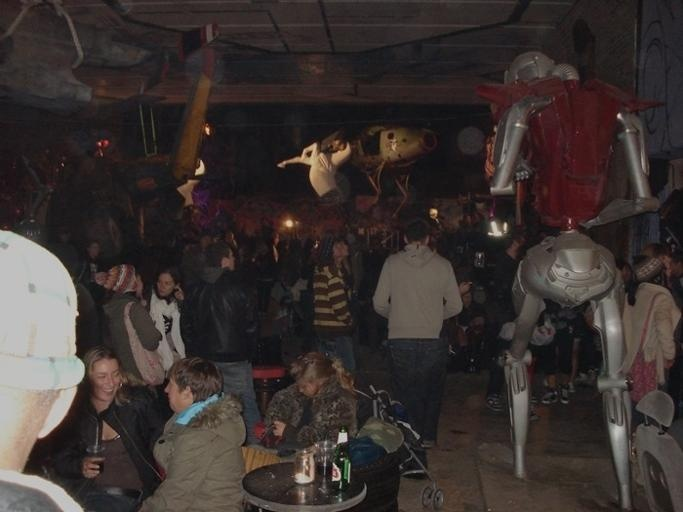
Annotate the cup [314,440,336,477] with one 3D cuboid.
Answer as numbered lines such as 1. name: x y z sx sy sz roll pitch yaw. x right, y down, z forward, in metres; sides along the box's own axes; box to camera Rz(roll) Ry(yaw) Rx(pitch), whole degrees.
1. cup: -0.114 1.432 5.042 0.210 0.212 0.165 0 3 -36

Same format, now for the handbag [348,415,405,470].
1. handbag: 0.257 1.439 5.687 0.137 0.556 0.348 16 -43 11

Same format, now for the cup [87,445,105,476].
1. cup: -1.757 1.443 5.126 0.115 0.200 0.309 -3 5 -19

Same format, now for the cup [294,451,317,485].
1. cup: -0.266 1.454 4.934 0.150 0.215 0.198 11 -14 -23

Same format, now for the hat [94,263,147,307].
1. hat: -1.968 0.253 6.517 0.402 0.306 0.302 3 14 -46

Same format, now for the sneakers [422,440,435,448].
1. sneakers: 0.847 1.827 6.917 0.106 0.037 0.112 -1 -3 1

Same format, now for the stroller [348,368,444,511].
1. stroller: 0.448 1.605 5.991 0.946 1.388 0.868 -1 -3 -3

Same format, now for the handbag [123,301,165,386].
1. handbag: -1.754 0.668 6.360 0.181 0.390 0.567 -34 -28 -19

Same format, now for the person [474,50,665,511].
1. person: 1.806 0.187 5.686 1.242 3.654 0.701 0 6 11
